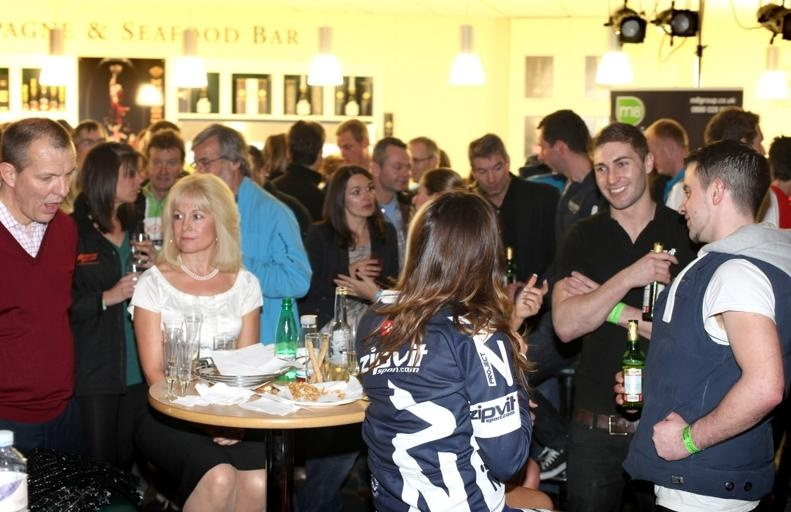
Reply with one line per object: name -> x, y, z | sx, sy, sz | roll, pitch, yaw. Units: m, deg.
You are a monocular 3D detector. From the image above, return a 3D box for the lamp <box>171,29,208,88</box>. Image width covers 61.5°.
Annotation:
lamp -> -2.260, -2.164, 7.281 | 0.346, 0.635, 0.384 | 0, 7, -10

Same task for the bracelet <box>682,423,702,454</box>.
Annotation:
bracelet -> 1.247, 0.746, 2.753 | 0.073, 0.103, 0.105 | -21, -15, 5

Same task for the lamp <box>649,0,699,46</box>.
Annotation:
lamp -> 3.247, -2.678, 7.612 | 0.467, 0.457, 0.723 | 4, 7, 25

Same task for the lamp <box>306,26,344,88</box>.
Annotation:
lamp -> -0.748, -2.094, 6.949 | 0.345, 0.622, 0.347 | 0, 7, -8

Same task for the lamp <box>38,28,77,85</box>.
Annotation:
lamp -> -3.988, -2.337, 7.814 | 0.386, 0.616, 0.370 | -2, 37, -26

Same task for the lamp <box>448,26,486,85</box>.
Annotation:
lamp -> 0.773, -2.151, 7.105 | 0.361, 0.625, 0.250 | 2, 7, 4

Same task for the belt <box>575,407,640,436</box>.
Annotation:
belt -> 1.096, 0.864, 3.482 | 0.178, 0.055, 0.188 | 9, -1, 6

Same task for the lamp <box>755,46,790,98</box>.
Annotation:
lamp -> 4.649, -2.267, 8.178 | 0.344, 0.659, 0.371 | 3, 7, 16

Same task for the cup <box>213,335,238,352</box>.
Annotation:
cup -> -0.859, 0.431, 3.324 | 0.108, 0.071, 0.143 | 0, 7, -16

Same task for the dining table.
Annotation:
dining table -> -0.602, 0.833, 3.245 | 0.750, 0.800, 0.704 | 11, 36, 6
